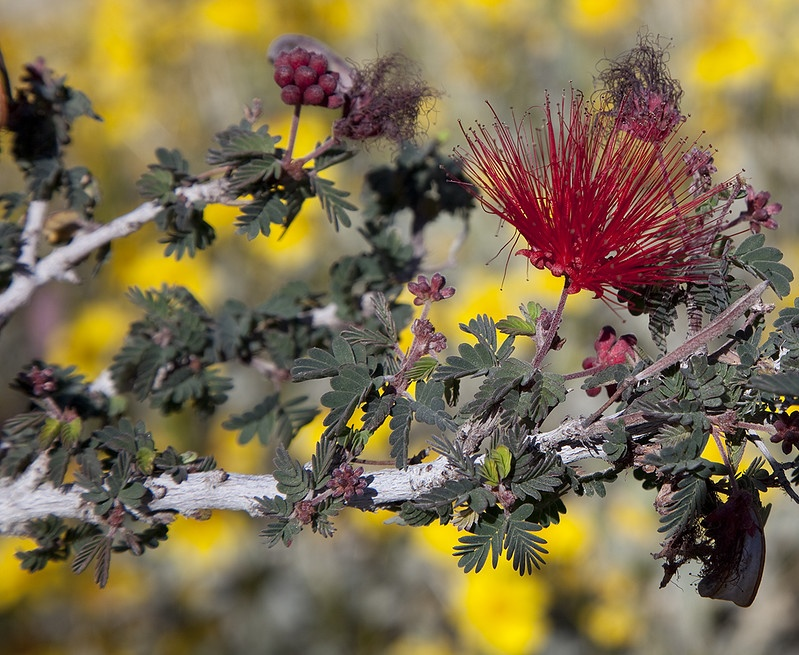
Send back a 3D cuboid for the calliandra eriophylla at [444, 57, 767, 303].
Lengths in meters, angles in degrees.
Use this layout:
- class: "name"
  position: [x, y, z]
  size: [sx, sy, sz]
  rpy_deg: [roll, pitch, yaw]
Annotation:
- class: "calliandra eriophylla"
  position: [0.324, -0.237, 2.767]
  size: [0.518, 0.390, 0.611]
  rpy_deg: [-15, 30, -12]
